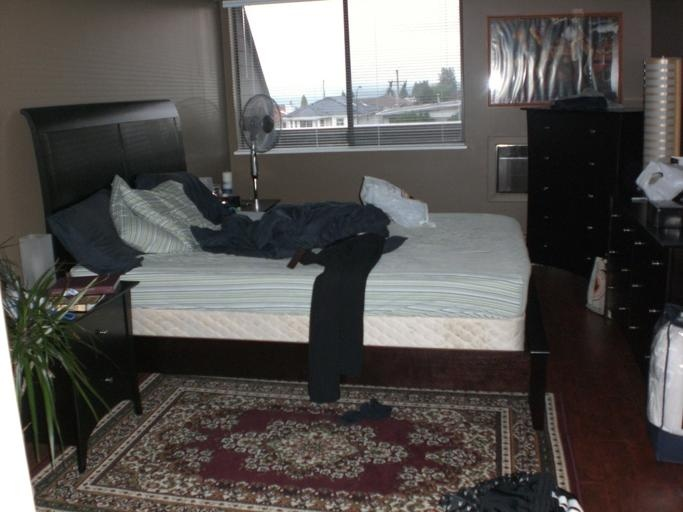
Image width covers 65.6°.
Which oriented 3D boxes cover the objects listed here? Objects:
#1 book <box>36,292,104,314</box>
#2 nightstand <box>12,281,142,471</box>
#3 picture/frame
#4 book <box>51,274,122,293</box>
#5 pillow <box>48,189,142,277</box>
[{"bbox_3d":[-1.384,0.244,2.774,0.153,0.035,0.154,2,16,5],"label":"book"},{"bbox_3d":[-1.475,0.658,2.917,0.445,0.752,0.631,-3,11,11],"label":"nightstand"},{"bbox_3d":[2.440,-2.250,5.991,1.482,1.013,0.063,0,16,5],"label":"picture/frame"},{"bbox_3d":[-1.394,0.153,2.932,0.186,0.038,0.183,2,16,2],"label":"book"},{"bbox_3d":[-1.585,-0.149,3.459,0.594,0.439,0.473,12,23,39],"label":"pillow"}]
